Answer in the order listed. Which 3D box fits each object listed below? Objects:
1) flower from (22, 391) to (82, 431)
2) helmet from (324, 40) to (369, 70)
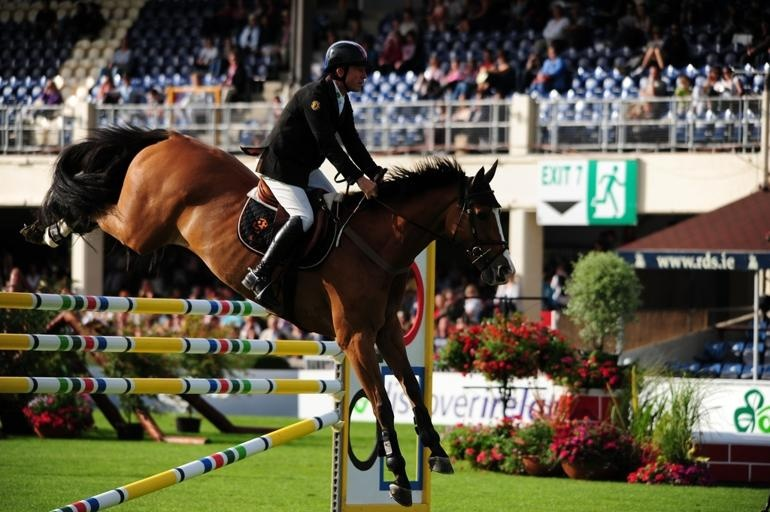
[{"bbox_3d":[-5.228,2.431,22.872,0.623,0.475,0.665,2,-5,32],"label":"flower"},{"bbox_3d":[-0.494,-2.472,17.833,0.436,0.264,0.341,0,5,1],"label":"helmet"}]
